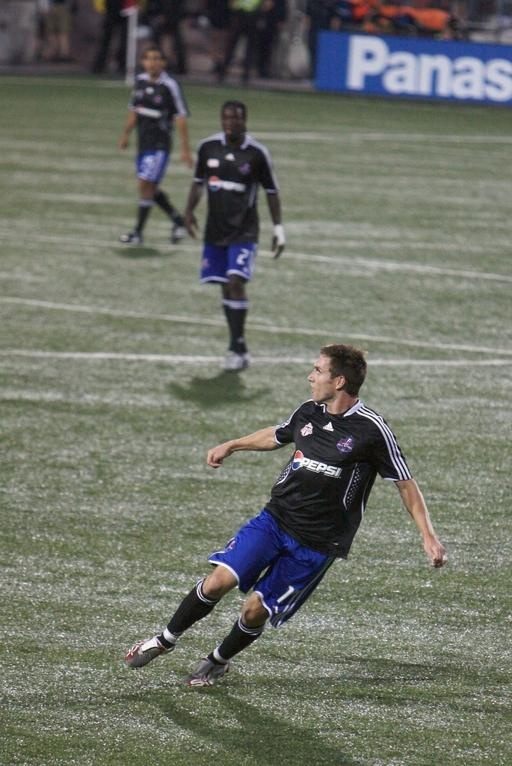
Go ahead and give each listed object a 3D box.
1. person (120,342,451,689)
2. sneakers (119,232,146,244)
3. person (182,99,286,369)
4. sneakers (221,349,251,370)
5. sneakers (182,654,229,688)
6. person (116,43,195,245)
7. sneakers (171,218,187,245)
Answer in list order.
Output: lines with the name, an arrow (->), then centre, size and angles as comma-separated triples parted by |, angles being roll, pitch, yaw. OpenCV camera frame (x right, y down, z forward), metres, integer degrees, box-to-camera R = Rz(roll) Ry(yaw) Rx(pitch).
person -> 0.137, 0.691, 7.706 | 1.177, 1.485, 0.553 | 31, 8, 26
sneakers -> -0.834, -1.022, 10.993 | 0.166, 0.098, 0.075 | 10, 16, 7
person -> -0.057, -0.928, 8.973 | 0.520, 1.327, 0.408 | -3, 11, -34
sneakers -> -0.100, -0.153, 9.799 | 0.140, 0.125, 0.302 | 1, -4, 2
sneakers -> -0.192, 1.216, 6.648 | 0.197, 0.084, 0.070 | -36, 42, -6
person -> -0.628, -1.597, 10.503 | 0.485, 1.237, 0.678 | 3, 9, -5
sneakers -> -0.511, -1.061, 10.917 | 0.089, 0.095, 0.240 | 4, -5, -5
